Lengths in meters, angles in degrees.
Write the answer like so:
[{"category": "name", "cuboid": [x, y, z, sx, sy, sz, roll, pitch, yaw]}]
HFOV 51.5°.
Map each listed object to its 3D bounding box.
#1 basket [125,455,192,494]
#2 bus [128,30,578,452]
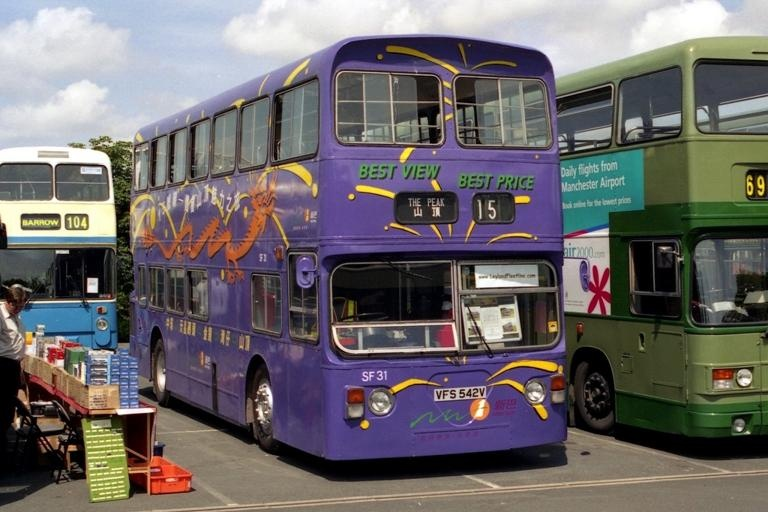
[{"category": "basket", "cuboid": [-3.303, 3.229, 11.633, 0.500, 0.248, 1.017, 3, -6, -24]}, {"category": "bus", "cuboid": [-0.082, -0.001, 12.827, 2.805, 3.722, 6.873, 0, 0, -26]}]
